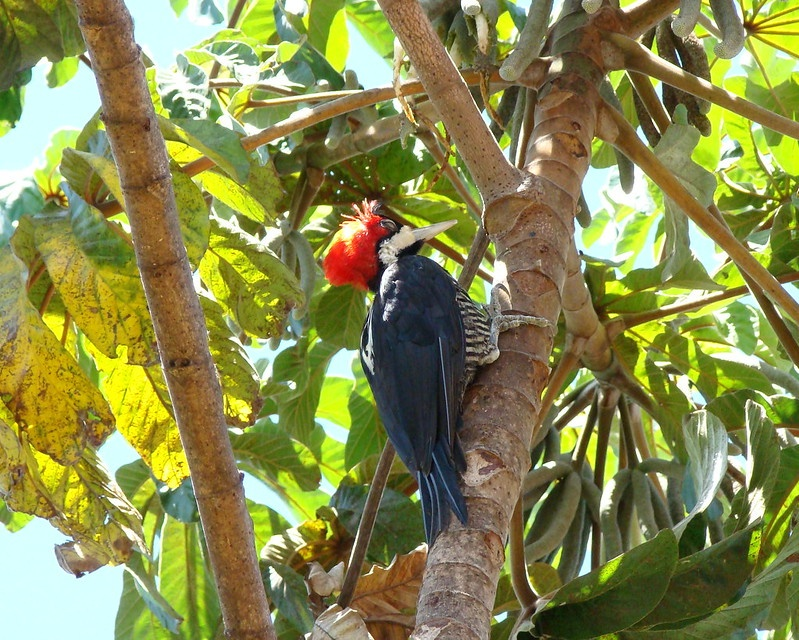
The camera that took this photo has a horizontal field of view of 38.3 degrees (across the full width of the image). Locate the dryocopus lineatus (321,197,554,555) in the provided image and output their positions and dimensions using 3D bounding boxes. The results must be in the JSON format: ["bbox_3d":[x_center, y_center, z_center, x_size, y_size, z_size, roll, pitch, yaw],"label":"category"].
[{"bbox_3d":[0.072,0.117,3.827,0.700,1.130,0.385,-9,-34,-45],"label":"dryocopus lineatus"}]
